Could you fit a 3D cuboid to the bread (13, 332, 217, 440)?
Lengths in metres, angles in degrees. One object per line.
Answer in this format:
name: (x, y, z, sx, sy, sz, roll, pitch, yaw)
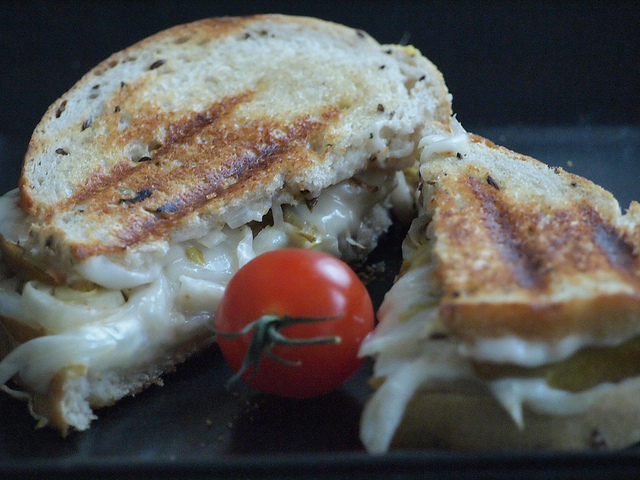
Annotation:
bread: (-0.688, 0.491, 2.674, 0.537, 0.149, 0.363, -17, 41, -37)
